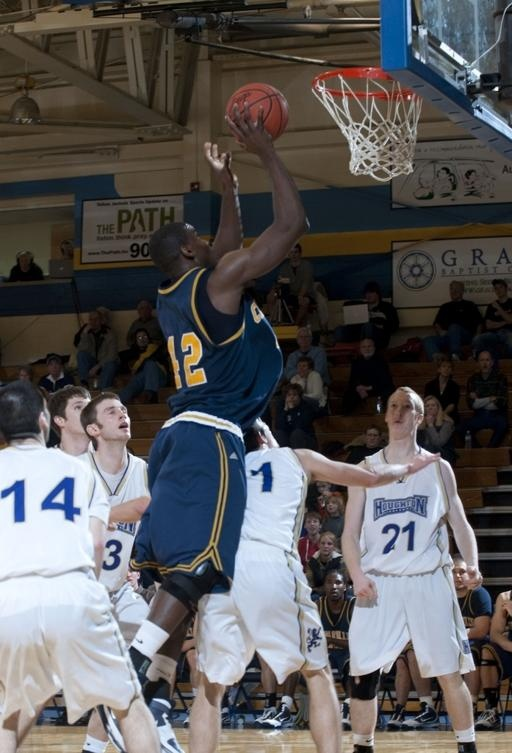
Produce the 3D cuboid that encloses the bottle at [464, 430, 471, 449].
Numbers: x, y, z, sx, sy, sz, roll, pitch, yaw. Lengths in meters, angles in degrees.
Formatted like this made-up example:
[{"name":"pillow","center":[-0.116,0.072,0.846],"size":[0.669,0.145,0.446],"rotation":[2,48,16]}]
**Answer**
[{"name":"bottle","center":[2.444,0.733,11.813],"size":[0.087,0.182,0.169],"rotation":[2,6,11]}]
